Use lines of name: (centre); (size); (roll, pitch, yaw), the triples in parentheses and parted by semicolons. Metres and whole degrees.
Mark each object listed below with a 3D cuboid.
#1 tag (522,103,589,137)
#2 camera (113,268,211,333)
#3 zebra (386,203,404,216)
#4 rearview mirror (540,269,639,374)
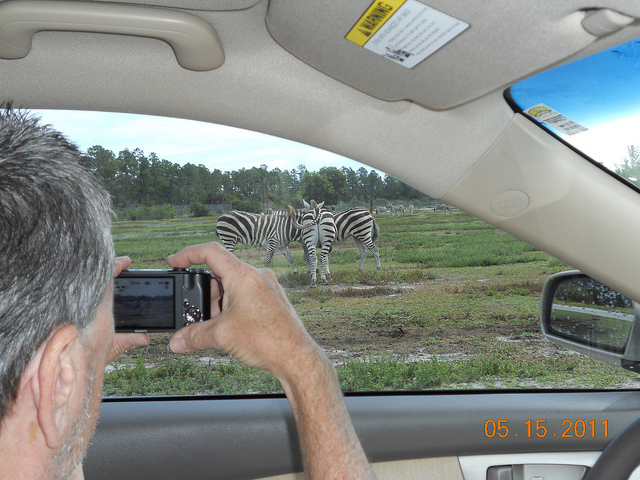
tag: (0.629, -0.321, 1.400); (0.169, 0.002, 0.065); (21, -12, -15)
camera: (-0.406, 0.151, 1.326); (0.237, 0.166, 0.061); (-1, -8, 6)
zebra: (0.896, -0.363, 6.197); (0.207, 0.140, 0.407); (2, 5, 9)
rearview mirror: (0.990, 0.273, 1.947); (0.191, 0.317, 0.431); (-2, 6, -34)
